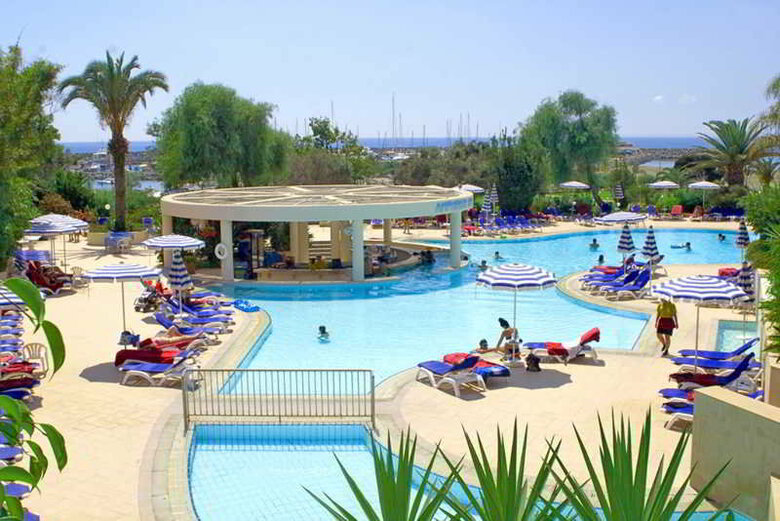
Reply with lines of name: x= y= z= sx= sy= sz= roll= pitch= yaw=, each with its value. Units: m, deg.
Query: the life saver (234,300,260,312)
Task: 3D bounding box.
life saver: x=-4.993 y=1.581 z=23.368 sx=0.424 sy=0.160 sz=0.729 roll=-1 pitch=14 yaw=-30

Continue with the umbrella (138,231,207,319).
umbrella: x=-7.431 y=0.436 z=23.726 sx=2.638 sy=2.510 sz=2.708 roll=-5 pitch=4 yaw=-22

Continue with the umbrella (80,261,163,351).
umbrella: x=-7.768 y=1.239 z=19.632 sx=1.824 sy=2.221 sz=1.897 roll=1 pitch=5 yaw=20

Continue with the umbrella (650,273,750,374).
umbrella: x=7.578 y=1.418 z=16.795 sx=1.834 sy=2.090 sz=1.888 roll=-8 pitch=11 yaw=-33

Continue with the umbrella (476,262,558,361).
umbrella: x=3.630 y=1.343 z=18.524 sx=2.152 sy=2.664 sz=2.260 roll=3 pitch=5 yaw=32

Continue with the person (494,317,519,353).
person: x=3.108 y=2.023 z=18.130 sx=0.467 sy=1.011 sz=1.498 roll=0 pitch=-12 yaw=-10
